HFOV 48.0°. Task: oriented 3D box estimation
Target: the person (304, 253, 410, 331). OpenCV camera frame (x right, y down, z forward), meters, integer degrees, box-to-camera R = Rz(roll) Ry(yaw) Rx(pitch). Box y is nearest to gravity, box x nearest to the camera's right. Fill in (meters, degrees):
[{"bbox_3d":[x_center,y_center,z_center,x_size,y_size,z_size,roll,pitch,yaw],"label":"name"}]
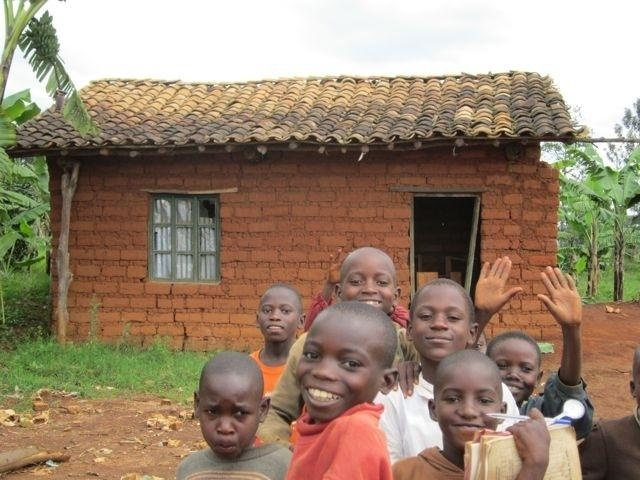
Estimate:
[{"bbox_3d":[0.153,0.546,7.112,0.911,0.813,0.323,3,13,6],"label":"person"}]
